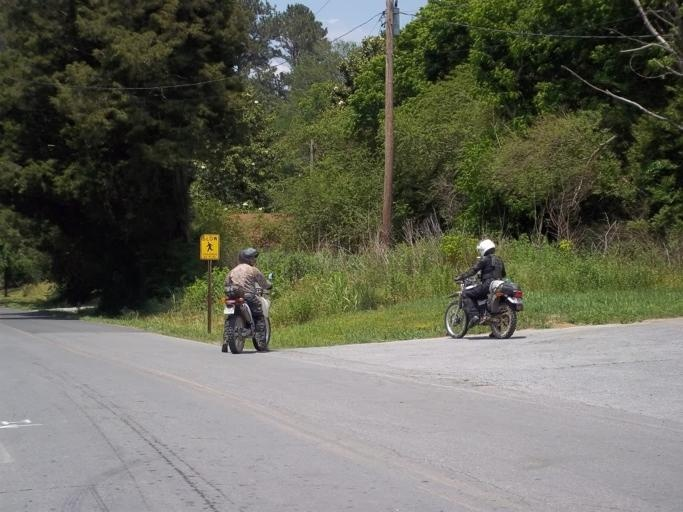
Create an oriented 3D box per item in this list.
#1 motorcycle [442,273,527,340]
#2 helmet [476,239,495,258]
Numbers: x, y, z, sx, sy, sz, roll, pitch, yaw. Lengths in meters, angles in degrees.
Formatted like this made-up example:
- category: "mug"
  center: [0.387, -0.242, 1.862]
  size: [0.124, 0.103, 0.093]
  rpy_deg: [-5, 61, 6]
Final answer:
- category: "motorcycle"
  center: [3.487, 1.205, 22.442]
  size: [0.873, 1.755, 2.509]
  rpy_deg: [4, -6, -38]
- category: "helmet"
  center: [3.600, -0.185, 22.913]
  size: [0.555, 0.511, 0.407]
  rpy_deg: [5, 14, 39]
